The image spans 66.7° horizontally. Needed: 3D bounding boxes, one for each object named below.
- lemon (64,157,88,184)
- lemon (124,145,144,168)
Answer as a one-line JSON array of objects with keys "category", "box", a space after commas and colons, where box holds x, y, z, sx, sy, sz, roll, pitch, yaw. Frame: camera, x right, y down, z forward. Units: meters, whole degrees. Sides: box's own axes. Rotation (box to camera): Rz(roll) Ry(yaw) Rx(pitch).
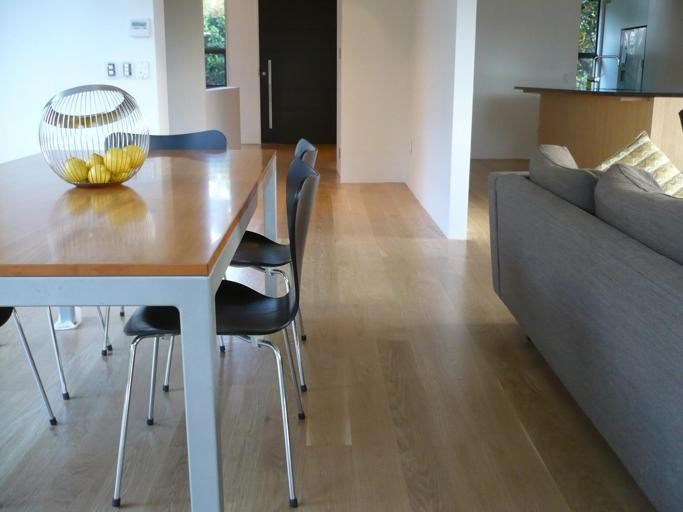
[{"category": "lemon", "box": [-0.958, -0.305, 1.869, 0.065, 0.093, 0.079, 1, 27, -5]}, {"category": "lemon", "box": [-0.777, -0.367, 1.947, 0.061, 0.064, 0.077, 1, 1, -2]}]
